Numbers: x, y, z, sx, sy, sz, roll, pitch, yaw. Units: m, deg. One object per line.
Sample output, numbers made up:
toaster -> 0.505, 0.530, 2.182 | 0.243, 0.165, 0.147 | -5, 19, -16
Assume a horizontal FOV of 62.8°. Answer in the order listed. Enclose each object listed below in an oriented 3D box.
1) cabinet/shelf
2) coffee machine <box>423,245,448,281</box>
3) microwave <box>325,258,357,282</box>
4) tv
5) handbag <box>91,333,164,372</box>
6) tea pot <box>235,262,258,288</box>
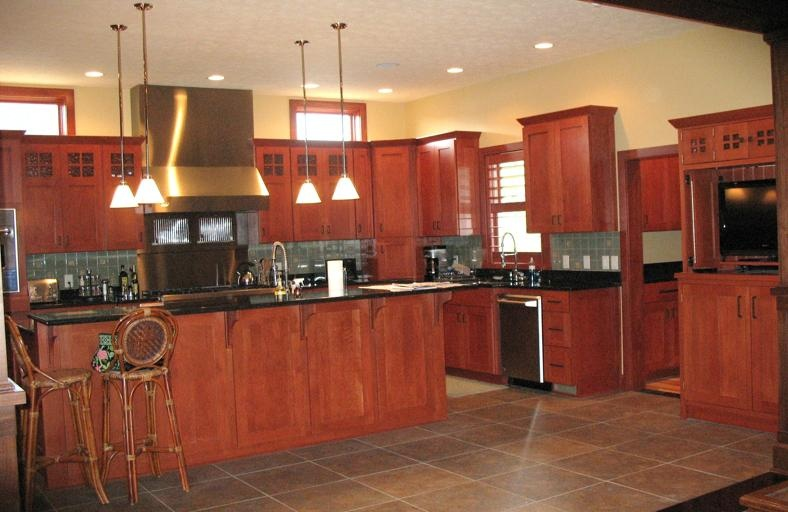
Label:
cabinet/shelf -> -0.014, 0.502, 6.833 | 5.293, 1.736, 3.423 | -1, -2, -33
coffee machine -> 0.607, 0.095, 9.491 | 0.403, 0.428, 0.369 | -3, 2, 21
microwave -> -0.654, 0.177, 8.009 | 0.452, 0.317, 0.159 | 1, -4, -31
tv -> 3.539, -0.362, 6.479 | 0.812, 0.702, 0.087 | -3, 4, -21
handbag -> -2.234, 0.762, 5.414 | 0.467, 0.361, 0.424 | -18, 2, -14
tea pot -> -2.032, 0.255, 8.890 | 0.332, 0.317, 0.386 | 3, -8, -34
